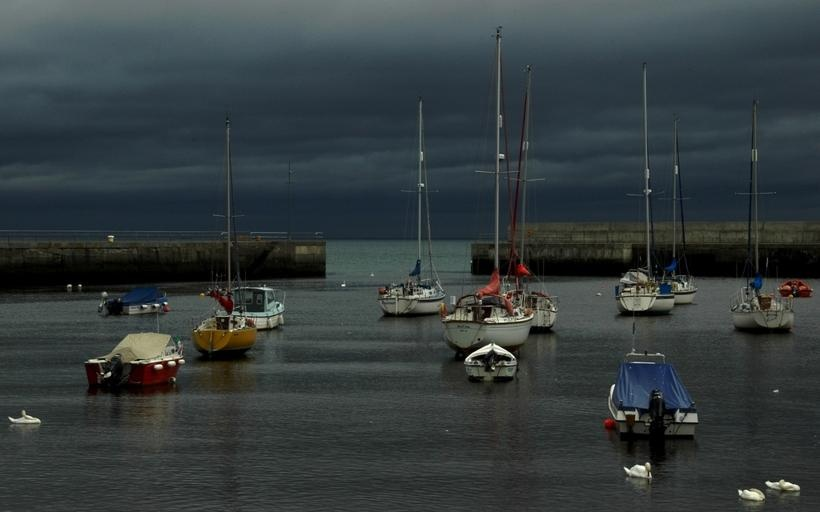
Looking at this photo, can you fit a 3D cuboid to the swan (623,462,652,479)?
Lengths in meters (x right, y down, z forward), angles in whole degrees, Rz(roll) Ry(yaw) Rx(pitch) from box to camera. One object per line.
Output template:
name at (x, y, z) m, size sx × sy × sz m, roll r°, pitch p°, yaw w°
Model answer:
swan at (9.154, 8.599, 55.739) m, size 0.996 × 0.608 × 0.586 m, roll 3°, pitch 4°, yaw 34°

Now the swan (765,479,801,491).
swan at (14.680, 9.127, 54.947) m, size 0.748 × 0.275 × 0.571 m, roll 0°, pitch -1°, yaw -14°

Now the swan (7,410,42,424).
swan at (-16.578, 6.974, 59.777) m, size 1.179 × 0.489 × 0.682 m, roll 0°, pitch 1°, yaw 1°

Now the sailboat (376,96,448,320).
sailboat at (0.086, 1.076, 107.231) m, size 5.554 × 14.091 × 5.766 m, roll 2°, pitch 0°, yaw -2°

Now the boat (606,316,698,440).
boat at (10.160, 5.737, 59.430) m, size 3.469 × 3.798 × 5.798 m, roll 1°, pitch 0°, yaw 0°
